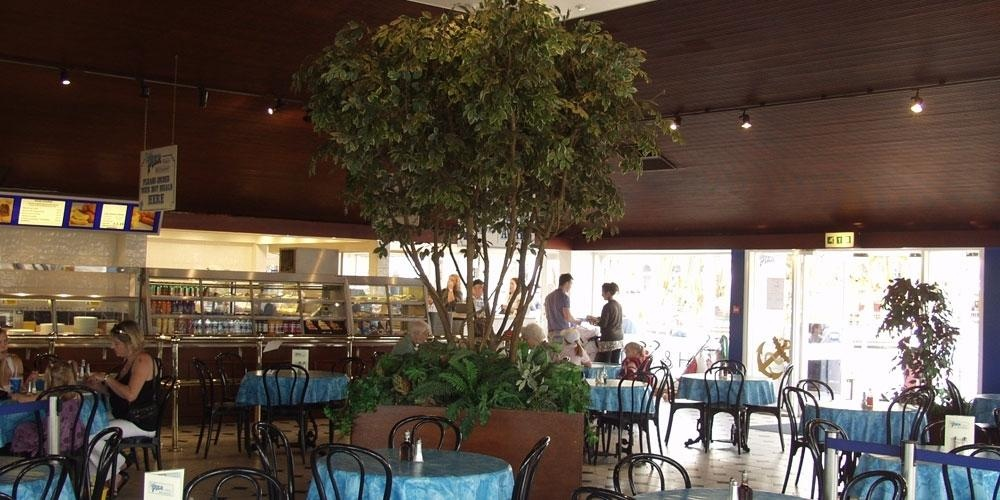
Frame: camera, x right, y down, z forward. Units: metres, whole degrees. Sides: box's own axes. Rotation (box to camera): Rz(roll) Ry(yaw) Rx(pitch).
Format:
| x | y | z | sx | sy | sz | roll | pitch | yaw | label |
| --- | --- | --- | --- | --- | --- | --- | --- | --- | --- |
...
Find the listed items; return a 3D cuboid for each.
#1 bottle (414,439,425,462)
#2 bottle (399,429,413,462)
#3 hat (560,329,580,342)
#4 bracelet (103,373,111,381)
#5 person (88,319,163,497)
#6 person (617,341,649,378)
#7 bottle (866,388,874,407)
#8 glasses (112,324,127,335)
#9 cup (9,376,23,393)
| x | y | z | sx | sy | sz | roll | pitch | yaw | label |
| --- | --- | --- | --- | --- | --- | --- | --- | --- | --- |
| -0.921 | 2.240 | 7.996 | 0.120 | 0.239 | 0.266 | 3 | -7 | -6 | bottle |
| -1.063 | 2.194 | 8.000 | 0.133 | 0.301 | 0.209 | 4 | -7 | -9 | bottle |
| 1.224 | 1.488 | 12.490 | 0.408 | 0.144 | 0.531 | 2 | -1 | -4 | hat |
| -5.350 | 1.688 | 9.618 | 0.093 | 0.059 | 0.084 | 1 | -8 | -8 | bracelet |
| -5.103 | 1.758 | 9.722 | 0.862 | 1.583 | 0.446 | 6 | -8 | -23 | person |
| 2.365 | 1.963 | 12.739 | 0.451 | 0.702 | 0.782 | 3 | -4 | 24 | person |
| 5.542 | 2.201 | 10.648 | 0.093 | 0.257 | 0.337 | -1 | -8 | 27 | bottle |
| -5.188 | 1.067 | 9.639 | 0.149 | 0.136 | 0.183 | 7 | -10 | -29 | glasses |
| -6.288 | 1.751 | 9.219 | 0.190 | 0.178 | 0.178 | -2 | -10 | 0 | cup |
